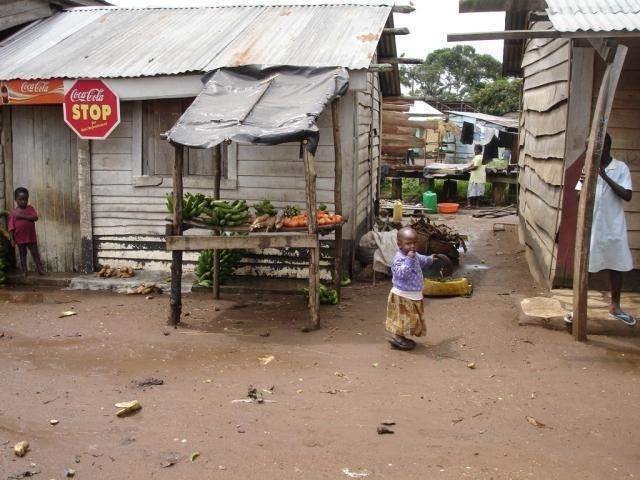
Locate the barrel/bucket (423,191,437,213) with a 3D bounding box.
[{"bbox_3d":[3.482,-1.166,19.439,0.447,0.616,0.797,1,13,10],"label":"barrel/bucket"}]

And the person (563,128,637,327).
[{"bbox_3d":[3.790,-0.132,7.879,0.589,2.400,0.545,5,16,23],"label":"person"}]

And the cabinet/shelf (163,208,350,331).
[{"bbox_3d":[-0.755,0.355,9.102,1.850,1.188,1.948,0,0,6],"label":"cabinet/shelf"}]

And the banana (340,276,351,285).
[{"bbox_3d":[0.438,0.717,10.695,0.184,0.050,0.175,-5,13,0],"label":"banana"}]

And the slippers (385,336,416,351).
[{"bbox_3d":[1.035,1.318,7.796,0.281,0.108,0.152,-1,3,30],"label":"slippers"}]

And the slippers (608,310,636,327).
[{"bbox_3d":[3.915,1.021,7.976,0.264,0.068,0.157,18,21,41],"label":"slippers"}]

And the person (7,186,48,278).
[{"bbox_3d":[-5.379,-0.144,11.214,0.523,1.637,0.477,8,17,32],"label":"person"}]

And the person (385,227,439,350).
[{"bbox_3d":[1.126,0.610,7.732,0.568,1.529,0.477,0,14,5],"label":"person"}]

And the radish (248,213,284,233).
[{"bbox_3d":[-0.733,-0.241,8.718,0.259,0.120,0.407,8,12,4],"label":"radish"}]

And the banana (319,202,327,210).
[{"bbox_3d":[0.042,-0.544,9.950,0.129,0.086,0.118,-5,-35,7],"label":"banana"}]

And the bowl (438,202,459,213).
[{"bbox_3d":[4.073,-1.013,19.657,0.617,0.283,0.486,2,13,11],"label":"bowl"}]
